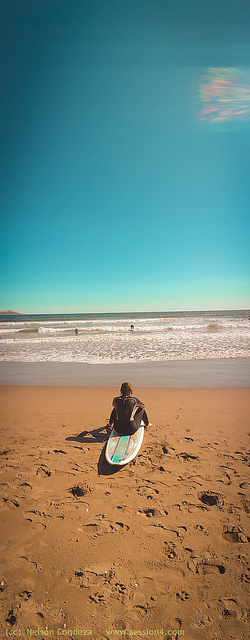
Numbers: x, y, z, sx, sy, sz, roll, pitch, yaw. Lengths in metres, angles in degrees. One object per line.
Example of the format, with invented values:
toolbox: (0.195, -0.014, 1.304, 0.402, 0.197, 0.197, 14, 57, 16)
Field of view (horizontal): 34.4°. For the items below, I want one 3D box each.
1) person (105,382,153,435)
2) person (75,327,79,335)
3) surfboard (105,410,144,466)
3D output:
person: (0.004, 1.457, 6.815, 0.640, 1.027, 0.704, 4, 18, 21)
person: (-4.980, 1.192, 41.489, 0.305, 1.036, 0.236, 1, -6, -8)
surfboard: (-0.021, 1.844, 6.292, 0.538, 0.500, 1.156, 2, 14, 7)
